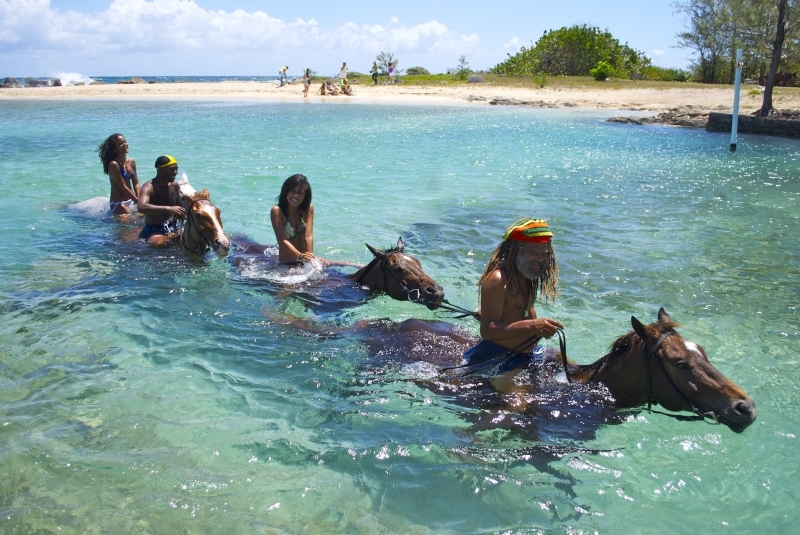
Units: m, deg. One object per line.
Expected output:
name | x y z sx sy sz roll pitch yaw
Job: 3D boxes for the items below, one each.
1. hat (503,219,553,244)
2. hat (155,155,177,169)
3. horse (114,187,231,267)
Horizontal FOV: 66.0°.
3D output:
hat | 1.617 -0.448 7.701 0.496 0.181 0.343 1 7 -5
hat | -4.848 -2.146 12.581 0.519 0.238 0.353 13 19 41
horse | -4.080 -0.779 11.632 2.436 1.384 0.737 9 18 31
